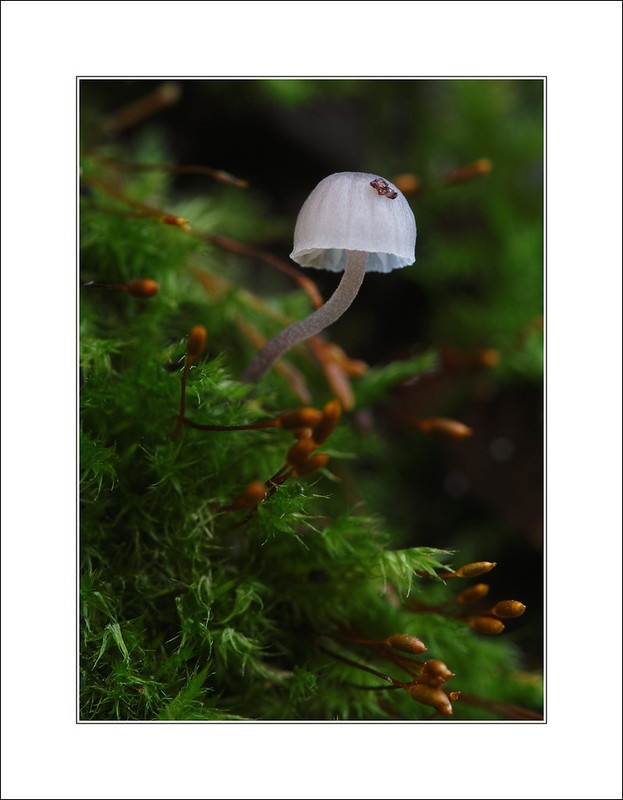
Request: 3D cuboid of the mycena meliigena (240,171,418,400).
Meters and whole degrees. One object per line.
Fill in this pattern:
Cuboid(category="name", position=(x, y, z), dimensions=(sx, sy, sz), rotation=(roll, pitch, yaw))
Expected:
Cuboid(category="mycena meliigena", position=(0.033, -0.178, 1.314), dimensions=(0.248, 0.326, 0.329), rotation=(2, 6, -11))
